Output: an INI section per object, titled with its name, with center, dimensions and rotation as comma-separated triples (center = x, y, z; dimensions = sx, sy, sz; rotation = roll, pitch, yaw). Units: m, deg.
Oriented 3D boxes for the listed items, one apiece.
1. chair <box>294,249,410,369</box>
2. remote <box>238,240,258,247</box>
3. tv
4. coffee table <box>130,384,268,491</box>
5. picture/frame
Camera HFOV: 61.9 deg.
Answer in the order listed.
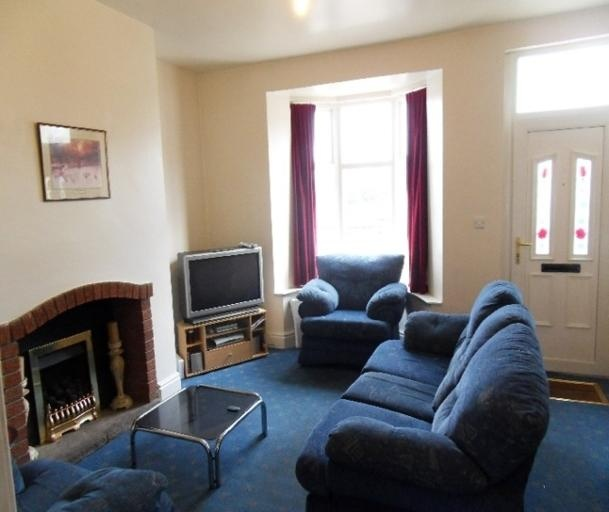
[chair]
center = 0.445, 0.527, 4.980
dimensions = 1.124, 1.224, 0.964
rotation = -1, -3, 25
[remote]
center = -0.567, -0.115, 5.153
dimensions = 0.189, 0.053, 0.386
rotation = -4, 14, -7
[tv]
center = -0.816, 0.285, 4.802
dimensions = 0.648, 0.619, 0.226
rotation = -6, 6, -40
[coffee table]
center = -0.695, 1.159, 3.472
dimensions = 0.737, 0.315, 0.728
rotation = 4, 15, 22
[picture/frame]
center = -1.523, -0.623, 3.315
dimensions = 0.037, 0.557, 0.530
rotation = 3, 6, 28
